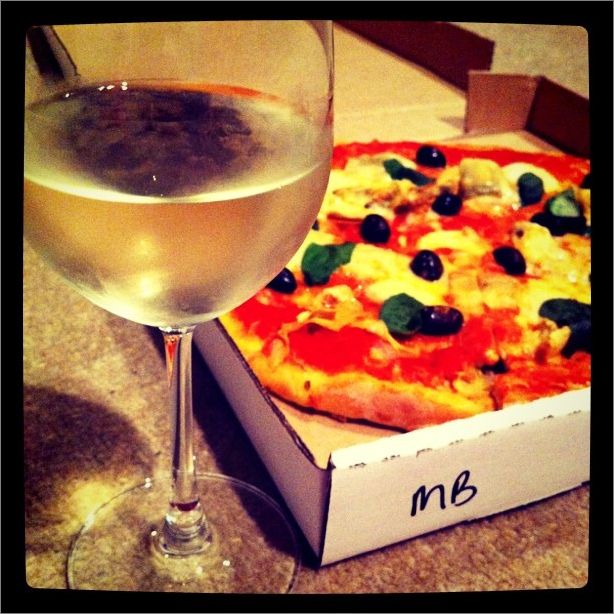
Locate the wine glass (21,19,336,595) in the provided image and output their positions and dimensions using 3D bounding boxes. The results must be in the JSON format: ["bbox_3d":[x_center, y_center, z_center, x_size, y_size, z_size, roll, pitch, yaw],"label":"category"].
[{"bbox_3d":[-0.066,0.010,0.356,0.150,0.294,0.173,2,38,1],"label":"wine glass"}]
